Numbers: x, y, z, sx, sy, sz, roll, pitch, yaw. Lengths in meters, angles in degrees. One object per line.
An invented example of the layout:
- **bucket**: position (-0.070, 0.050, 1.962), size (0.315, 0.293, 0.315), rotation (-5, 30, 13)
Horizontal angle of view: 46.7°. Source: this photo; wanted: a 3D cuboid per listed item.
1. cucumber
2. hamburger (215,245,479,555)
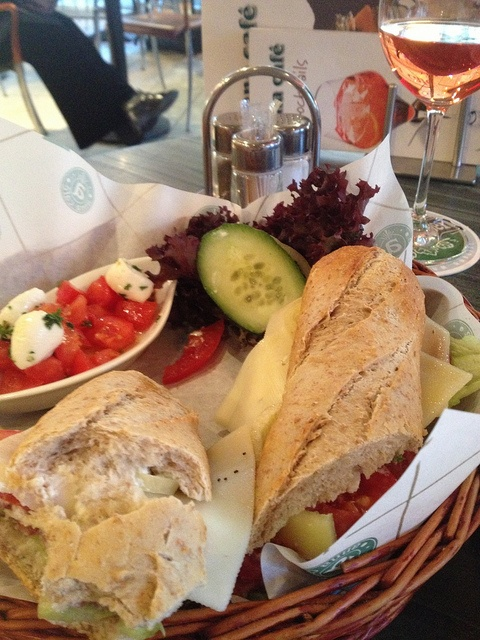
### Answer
- **cucumber**: position (0.023, -0.082, 1.060), size (0.160, 0.050, 0.206), rotation (-45, 78, 2)
- **hamburger**: position (0.161, 0.067, 0.747), size (0.240, 0.152, 0.439), rotation (0, 53, 26)
